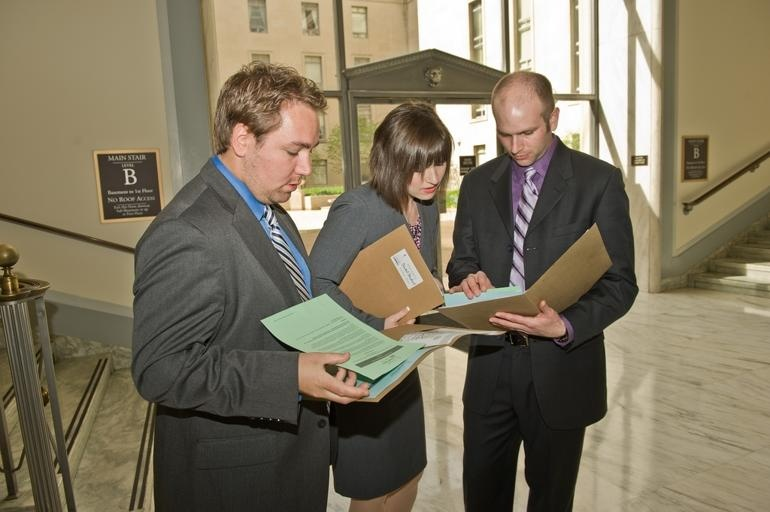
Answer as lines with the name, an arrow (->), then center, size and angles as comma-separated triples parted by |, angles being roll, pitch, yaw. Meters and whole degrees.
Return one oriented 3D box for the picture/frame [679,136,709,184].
picture/frame -> 4.197, -1.346, 7.510 | 0.542, 0.893, 0.065 | -1, 3, -11
